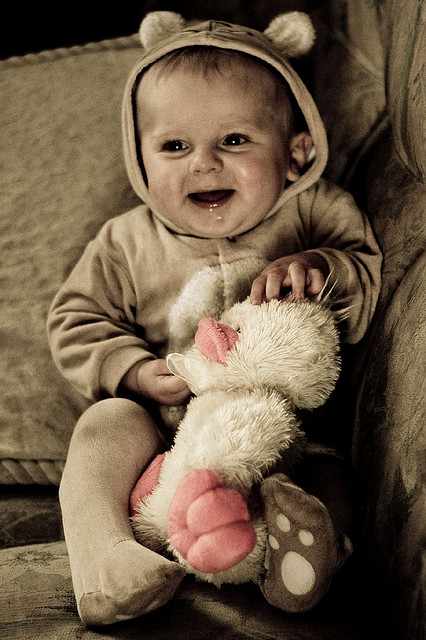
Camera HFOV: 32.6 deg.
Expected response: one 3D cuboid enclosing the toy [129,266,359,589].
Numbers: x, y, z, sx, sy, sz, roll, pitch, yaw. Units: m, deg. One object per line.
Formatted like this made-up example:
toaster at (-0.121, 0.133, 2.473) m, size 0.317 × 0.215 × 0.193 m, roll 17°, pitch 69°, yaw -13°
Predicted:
toy at (0.056, 0.139, 0.903) m, size 0.265 × 0.162 × 0.381 m, roll -24°, pitch 27°, yaw 18°
